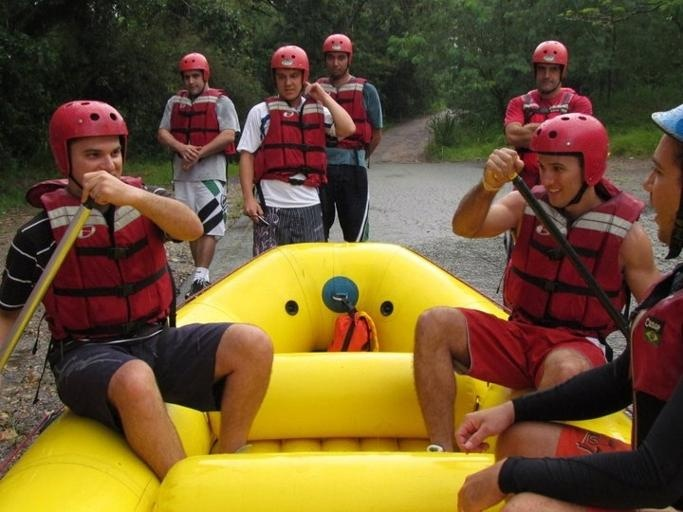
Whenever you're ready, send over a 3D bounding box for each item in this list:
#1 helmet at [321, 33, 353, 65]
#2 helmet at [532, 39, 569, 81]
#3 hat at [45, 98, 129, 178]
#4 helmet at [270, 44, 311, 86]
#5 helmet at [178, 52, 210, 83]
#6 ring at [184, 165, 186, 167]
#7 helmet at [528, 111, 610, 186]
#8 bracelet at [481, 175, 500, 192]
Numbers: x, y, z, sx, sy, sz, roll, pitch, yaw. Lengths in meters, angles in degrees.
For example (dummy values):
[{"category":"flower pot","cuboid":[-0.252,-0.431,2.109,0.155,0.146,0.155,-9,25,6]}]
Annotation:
[{"category":"helmet","cuboid":[-0.024,-1.594,5.666,0.174,0.203,0.242,1,1,1]},{"category":"helmet","cuboid":[1.519,-1.437,5.359,0.213,0.280,0.288,3,11,18]},{"category":"hat","cuboid":[-1.088,-0.532,3.290,0.346,0.335,0.283,14,16,14]},{"category":"helmet","cuboid":[-0.334,-1.285,4.956,0.180,0.221,0.258,3,22,5]},{"category":"helmet","cuboid":[-1.245,-1.567,6.125,0.194,0.256,0.264,-2,4,5]},{"category":"ring","cuboid":[-1.244,-0.712,5.869,0.019,0.021,0.006,1,7,26]},{"category":"helmet","cuboid":[1.057,-0.502,3.366,0.338,0.288,0.269,-12,21,-6]},{"category":"bracelet","cuboid":[0.658,-0.309,3.272,0.060,0.074,0.026,28,67,19]}]
